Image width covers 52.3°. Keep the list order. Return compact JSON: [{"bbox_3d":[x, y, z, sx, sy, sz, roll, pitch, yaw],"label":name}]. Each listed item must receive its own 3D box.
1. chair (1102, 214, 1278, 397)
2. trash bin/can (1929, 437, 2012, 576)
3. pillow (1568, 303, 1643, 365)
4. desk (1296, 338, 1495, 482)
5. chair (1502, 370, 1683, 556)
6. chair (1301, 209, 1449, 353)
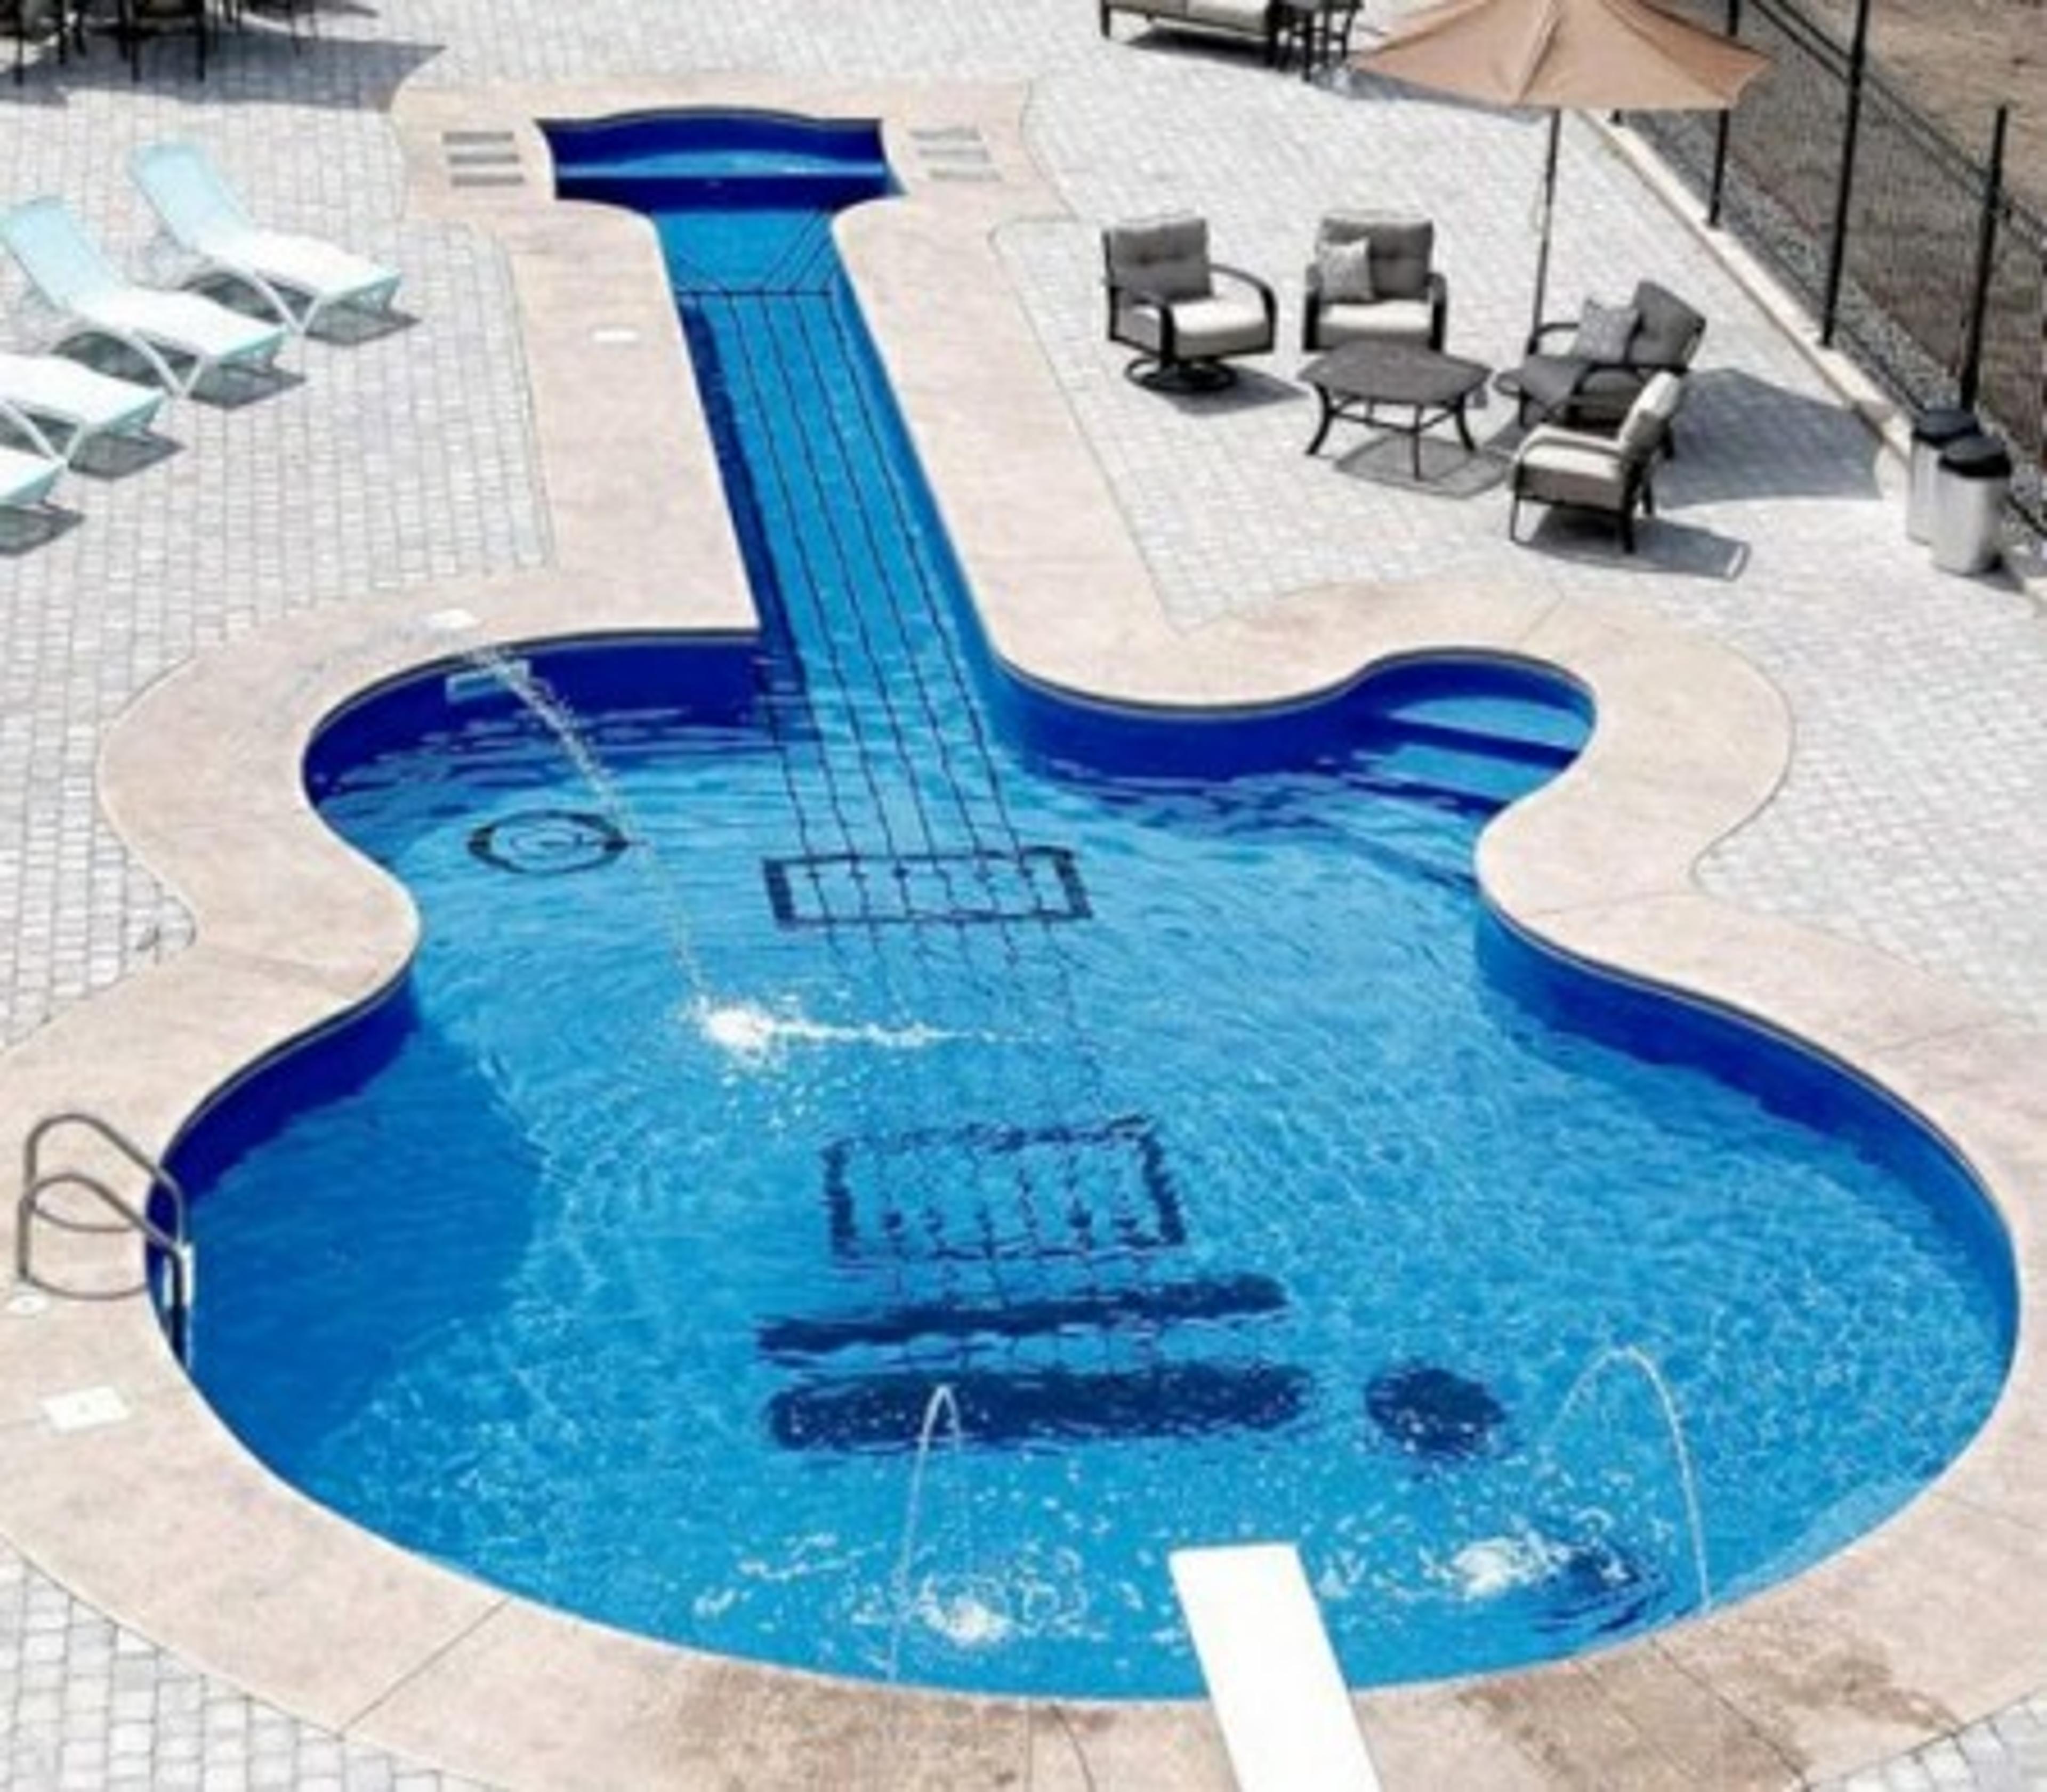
[{"bbox_3d":[1.403,-4.854,16.998,1.328,1.024,1.178,-11,44,-10],"label":"chair"},{"bbox_3d":[6.565,-2.656,14.237,0.522,0.912,0.494,4,37,19],"label":"trash bin/can"},{"bbox_3d":[4.574,-4.370,16.037,0.210,0.504,0.648,22,3,-40],"label":"pillow"},{"bbox_3d":[2.769,-3.957,16.209,1.451,0.741,1.317,19,69,4],"label":"desk"},{"bbox_3d":[3.655,-2.896,14.705,1.471,0.858,1.095,-4,0,-32],"label":"chair"},{"bbox_3d":[2.954,-5.010,17.160,1.256,0.950,1.036,2,41,-3],"label":"chair"}]
